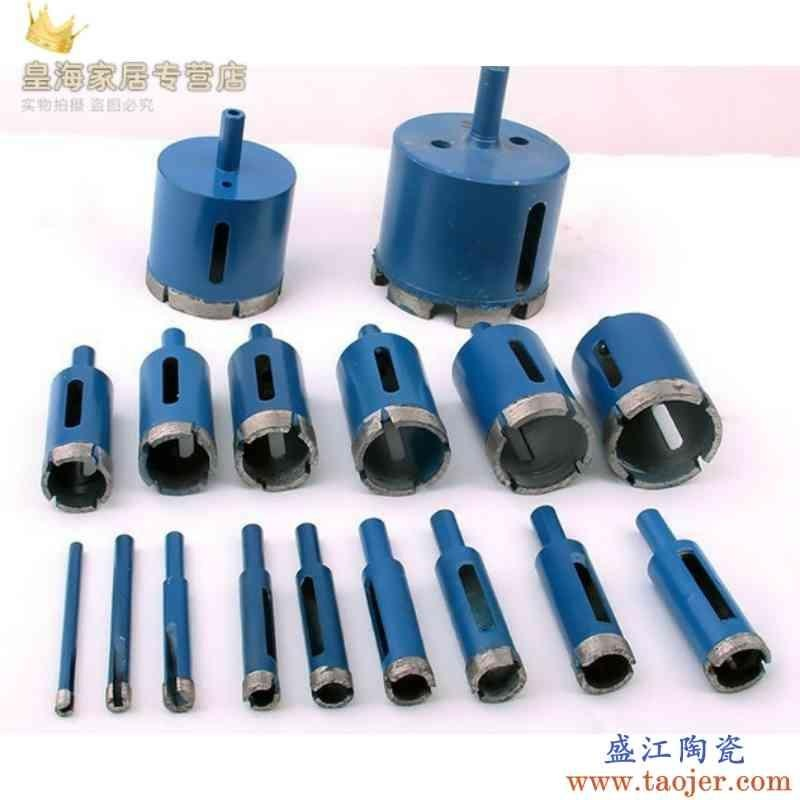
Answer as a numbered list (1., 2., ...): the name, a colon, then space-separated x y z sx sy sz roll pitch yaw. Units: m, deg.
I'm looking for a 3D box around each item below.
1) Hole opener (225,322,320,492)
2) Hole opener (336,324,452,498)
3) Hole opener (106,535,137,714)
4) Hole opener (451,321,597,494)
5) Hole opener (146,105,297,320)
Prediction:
1. Hole opener: -0.473 0.037 3.081 0.308 0.271 0.644 -3 38 -12
2. Hole opener: -0.055 0.043 3.074 0.332 0.313 0.564 -11 44 1
3. Hole opener: -0.763 0.605 2.432 0.076 0.053 0.445 0 79 -4
4. Hole opener: 0.388 0.041 3.092 0.368 0.345 0.610 -17 40 5
5. Hole opener: -0.749 -0.683 3.655 0.615 0.789 0.463 1 36 -8
